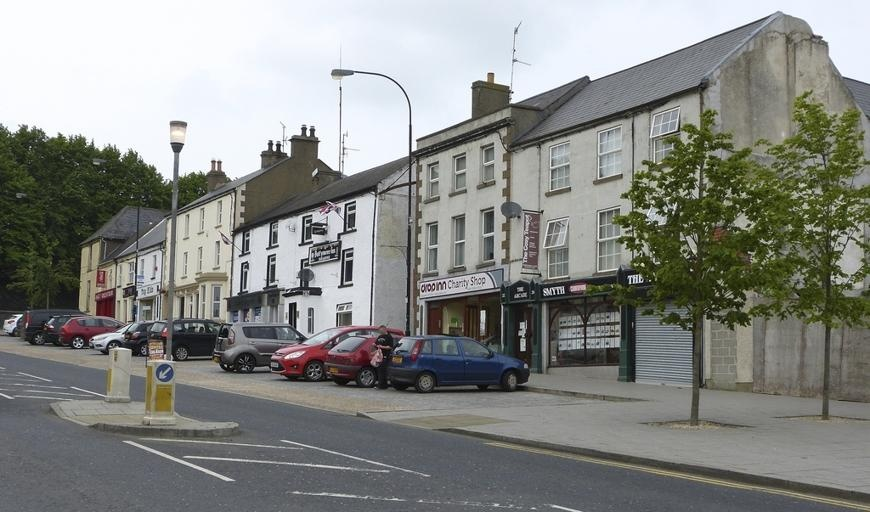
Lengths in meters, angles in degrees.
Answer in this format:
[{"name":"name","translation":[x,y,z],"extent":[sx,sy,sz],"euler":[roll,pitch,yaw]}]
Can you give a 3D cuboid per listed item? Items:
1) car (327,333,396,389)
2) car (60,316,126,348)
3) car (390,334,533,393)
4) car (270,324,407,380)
[{"name":"car","translation":[-3.039,4.192,44.785],"extent":[2.773,1.956,3.410],"euler":[-4,-6,42]},{"name":"car","translation":[-19.668,4.375,63.644],"extent":[3.414,1.287,1.939],"euler":[-2,0,-32]},{"name":"car","translation":[0.794,4.152,42.789],"extent":[5.667,2.056,2.224],"euler":[2,-4,-29]},{"name":"car","translation":[-5.222,3.984,45.939],"extent":[4.501,1.689,2.412],"euler":[4,-7,-24]}]
